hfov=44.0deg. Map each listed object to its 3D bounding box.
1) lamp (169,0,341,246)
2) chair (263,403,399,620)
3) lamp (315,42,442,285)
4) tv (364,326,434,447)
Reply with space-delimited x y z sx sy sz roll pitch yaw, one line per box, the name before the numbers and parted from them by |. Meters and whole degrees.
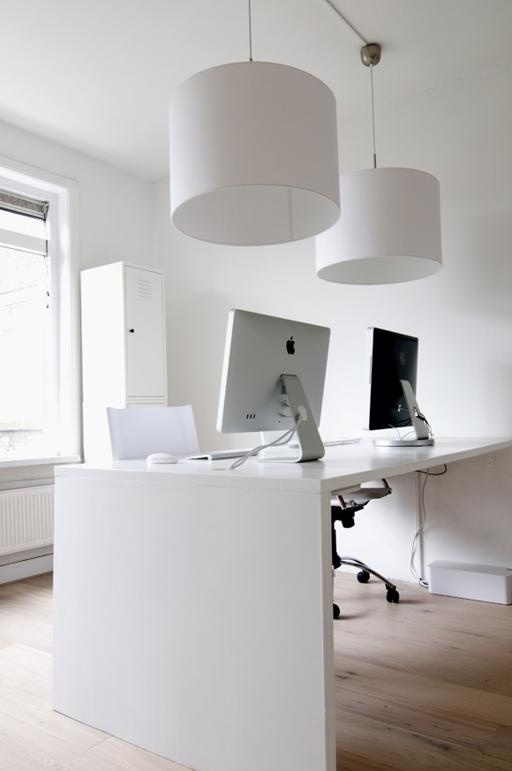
lamp | -0.012 -0.598 1.718 0.456 0.313 0.481 -2 -4 7
chair | 0.405 0.579 2.798 0.612 0.961 0.707 -1 -4 2
lamp | 0.550 -0.701 2.284 0.457 0.922 0.487 -4 2 -33
tv | 0.629 0.003 2.737 0.264 0.566 0.525 0 -2 33
